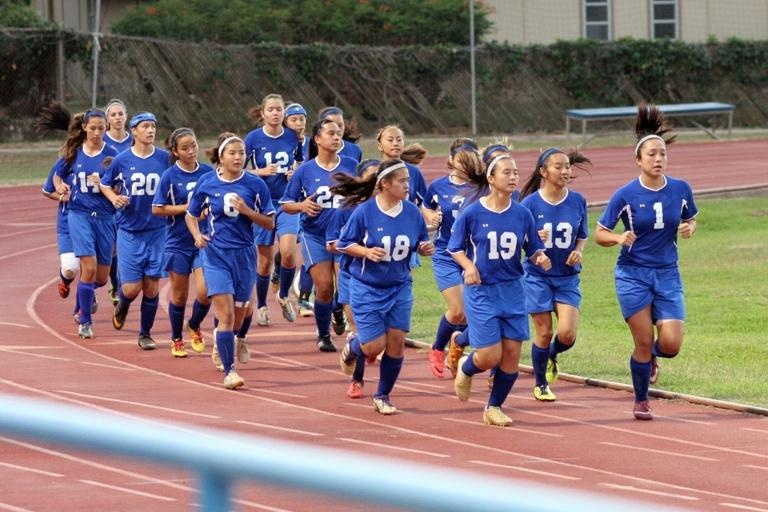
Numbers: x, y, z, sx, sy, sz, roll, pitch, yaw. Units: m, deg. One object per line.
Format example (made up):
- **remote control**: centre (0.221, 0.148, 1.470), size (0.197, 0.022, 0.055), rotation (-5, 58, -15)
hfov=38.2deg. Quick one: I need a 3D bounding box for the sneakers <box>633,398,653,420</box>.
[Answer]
- **sneakers**: centre (2.583, 1.510, 10.990), size (0.197, 0.129, 0.192), rotation (12, 9, 10)
